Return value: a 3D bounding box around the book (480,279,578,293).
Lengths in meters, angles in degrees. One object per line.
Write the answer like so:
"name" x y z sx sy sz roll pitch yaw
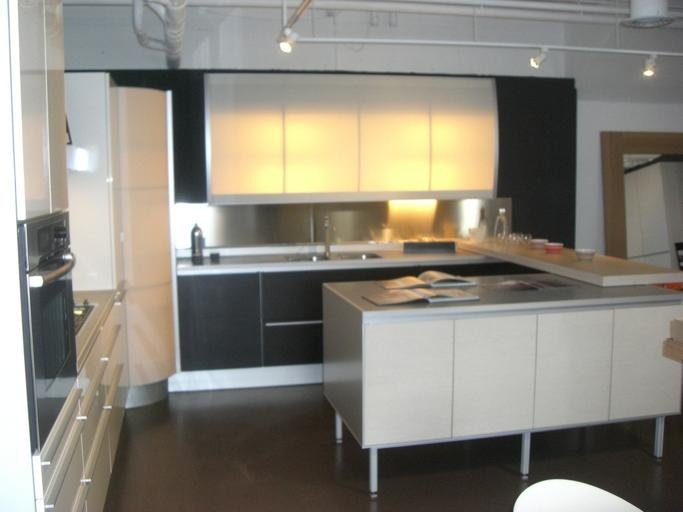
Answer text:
"book" 1.313 0.205 4.412 0.622 0.024 0.351 -1 13 -1

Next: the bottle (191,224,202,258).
"bottle" -1.391 -0.155 5.897 0.100 0.271 0.266 -4 13 -14

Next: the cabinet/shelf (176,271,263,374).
"cabinet/shelf" -1.111 0.557 5.475 0.821 1.028 0.502 -1 3 -12

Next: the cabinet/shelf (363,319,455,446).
"cabinet/shelf" 0.375 0.770 4.181 0.689 1.053 0.694 0 2 -13

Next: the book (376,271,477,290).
"book" 0.649 0.178 4.401 0.713 0.091 0.375 -2 13 -5

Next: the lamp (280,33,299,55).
"lamp" -0.401 -1.590 4.593 0.119 0.101 0.135 -2 13 -5
